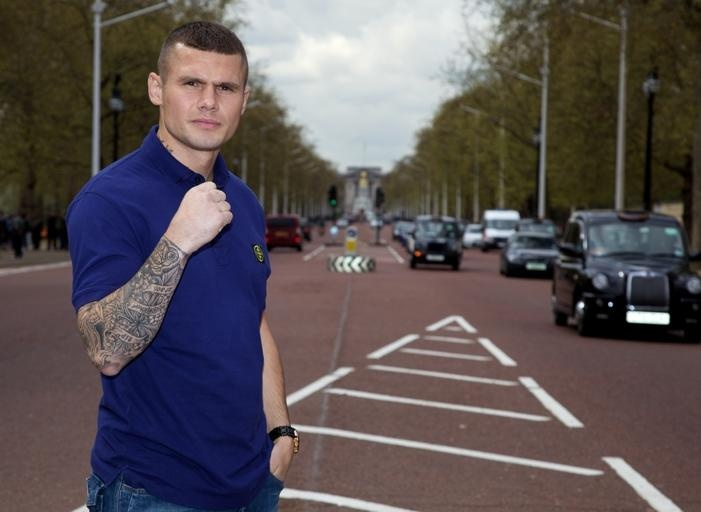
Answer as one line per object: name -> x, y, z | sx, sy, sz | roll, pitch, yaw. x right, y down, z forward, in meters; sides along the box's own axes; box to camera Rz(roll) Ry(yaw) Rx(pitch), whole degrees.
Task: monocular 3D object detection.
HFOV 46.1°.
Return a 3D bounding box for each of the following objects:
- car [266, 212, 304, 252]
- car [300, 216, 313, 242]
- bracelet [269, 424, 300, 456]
car -> -3.652, -0.973, 46.960 | 2.029, 2.013, 3.437 | 0, 8, -1
car -> -3.487, -2.075, 66.999 | 1.178, 1.414, 2.419 | 0, 1, -4
bracelet -> -0.295, 0.833, 3.652 | 0.131, 0.170, 0.112 | -3, 14, 1
